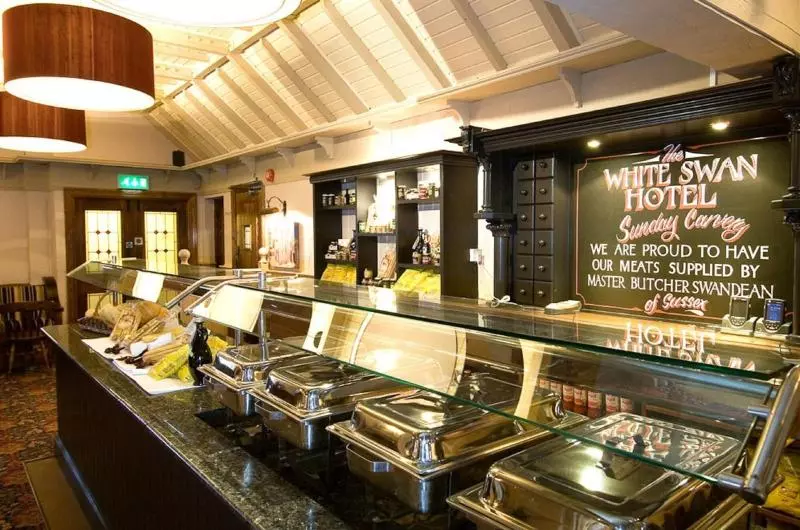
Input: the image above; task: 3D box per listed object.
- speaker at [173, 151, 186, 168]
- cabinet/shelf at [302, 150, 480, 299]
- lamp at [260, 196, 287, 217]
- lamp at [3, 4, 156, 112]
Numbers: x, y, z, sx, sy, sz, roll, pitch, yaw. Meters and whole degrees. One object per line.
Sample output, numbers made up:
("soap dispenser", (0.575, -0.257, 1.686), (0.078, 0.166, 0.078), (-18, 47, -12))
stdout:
("speaker", (-4.007, -1.902, 9.228), (0.218, 0.335, 0.156), (-2, 3, -27))
("cabinet/shelf", (-0.047, -0.431, 5.196), (1.896, 1.567, 0.520), (0, -1, 42))
("lamp", (-1.854, -0.863, 7.544), (0.415, 0.365, 0.321), (2, 2, 41))
("lamp", (-1.814, -1.149, 2.953), (0.765, 0.332, 0.721), (2, -1, 1))
